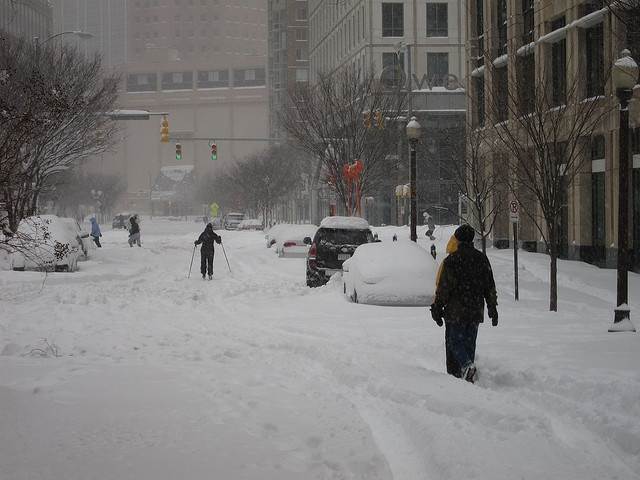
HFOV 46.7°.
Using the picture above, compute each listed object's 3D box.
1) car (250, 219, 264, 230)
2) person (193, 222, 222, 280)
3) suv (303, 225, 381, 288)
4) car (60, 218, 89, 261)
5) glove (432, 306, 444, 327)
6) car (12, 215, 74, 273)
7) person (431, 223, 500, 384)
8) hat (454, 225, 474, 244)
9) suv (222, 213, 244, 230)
[{"bbox_3d":[-6.006,-1.389,70.644,1.234,0.811,1.703,-1,10,12],"label":"car"},{"bbox_3d":[-3.634,0.284,24.188,0.736,1.921,0.532,-2,24,-22],"label":"person"},{"bbox_3d":[0.546,0.433,18.907,1.159,1.252,2.066,0,7,0],"label":"suv"},{"bbox_3d":[-8.707,-0.091,26.414,0.810,0.948,1.675,1,-2,-10],"label":"car"},{"bbox_3d":[1.540,1.037,9.900,0.166,0.297,0.077,-9,2,-36],"label":"glove"},{"bbox_3d":[-6.730,0.160,17.961,0.975,0.950,2.404,0,11,-7],"label":"car"},{"bbox_3d":[1.927,0.836,9.914,0.874,1.998,0.523,-8,10,-38],"label":"person"},{"bbox_3d":[1.954,-0.100,10.070,0.177,0.286,0.258,2,11,4],"label":"hat"},{"bbox_3d":[-9.332,-2.063,79.574,1.484,1.708,2.947,0,-3,-13],"label":"suv"}]
